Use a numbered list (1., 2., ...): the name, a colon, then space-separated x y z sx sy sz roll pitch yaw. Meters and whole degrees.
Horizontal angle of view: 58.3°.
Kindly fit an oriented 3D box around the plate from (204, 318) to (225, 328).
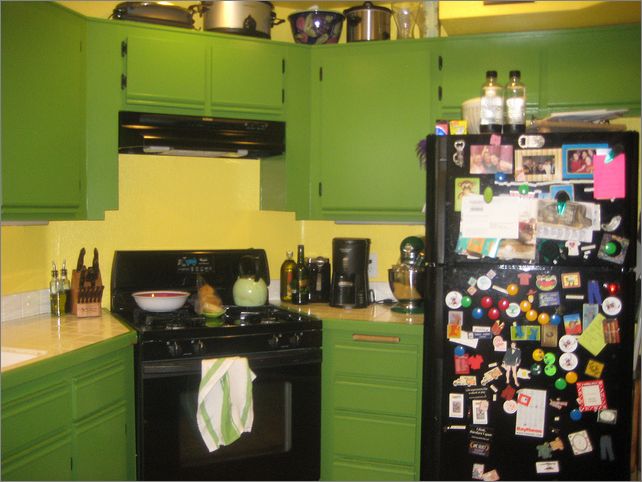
1. plate: -0.514 0.389 2.742 0.088 0.007 0.233 -1 5 -10

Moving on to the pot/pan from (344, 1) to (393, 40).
1. pot/pan: 0.253 -1.168 3.087 0.235 0.218 0.219 6 12 13

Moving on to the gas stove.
1. gas stove: -0.533 0.391 2.880 0.964 0.070 0.509 -2 5 -19

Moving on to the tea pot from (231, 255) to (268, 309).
1. tea pot: -0.393 0.217 3.124 0.176 0.257 0.269 -1 4 -9

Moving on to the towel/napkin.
1. towel/napkin: -0.437 0.717 2.583 0.274 0.503 0.178 0 0 -30

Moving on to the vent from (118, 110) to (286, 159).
1. vent: -0.661 -0.532 3.082 0.863 0.187 0.465 -2 -1 -22

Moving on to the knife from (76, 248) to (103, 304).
1. knife: -1.165 0.176 2.876 0.120 0.274 0.118 -2 4 -21

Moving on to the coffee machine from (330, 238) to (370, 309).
1. coffee machine: 0.155 0.182 3.144 0.168 0.390 0.173 0 10 -10

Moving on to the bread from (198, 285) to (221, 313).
1. bread: -0.563 0.297 2.882 0.097 0.071 0.191 -6 35 -24
